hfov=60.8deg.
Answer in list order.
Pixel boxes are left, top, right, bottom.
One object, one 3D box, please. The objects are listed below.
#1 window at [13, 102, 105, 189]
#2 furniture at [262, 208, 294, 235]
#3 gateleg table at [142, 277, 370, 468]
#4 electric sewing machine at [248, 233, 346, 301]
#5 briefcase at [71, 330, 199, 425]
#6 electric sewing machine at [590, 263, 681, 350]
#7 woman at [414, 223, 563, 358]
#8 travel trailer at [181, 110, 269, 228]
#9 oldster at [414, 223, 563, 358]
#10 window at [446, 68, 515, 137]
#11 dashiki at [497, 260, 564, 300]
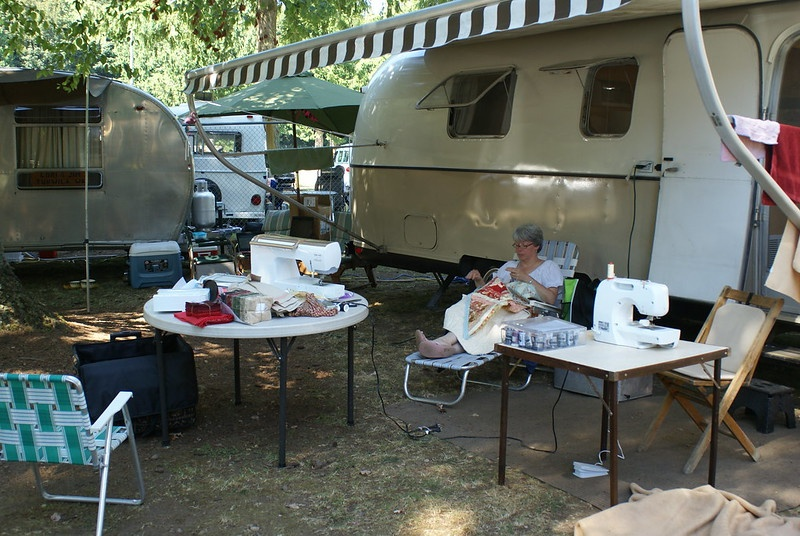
[{"bbox_3d":[-5.145,-1.866,10.181,1.485,1.520,0.131,2,0,-6],"label":"window"},{"bbox_3d":[-1.904,-0.748,10.633,0.394,0.421,0.429,1,3,14],"label":"furniture"},{"bbox_3d":[-1.068,0.662,5.486,1.507,0.927,1.539,11,16,39],"label":"gateleg table"},{"bbox_3d":[-1.000,-0.061,5.744,1.031,0.628,0.370,9,16,25],"label":"electric sewing machine"},{"bbox_3d":[-2.153,0.907,5.679,1.042,0.769,0.762,-3,17,-12],"label":"briefcase"},{"bbox_3d":[1.837,0.302,5.280,0.629,0.605,0.292,9,15,42],"label":"electric sewing machine"},{"bbox_3d":[0.838,0.171,6.328,0.837,1.148,1.849,3,7,42],"label":"woman"},{"bbox_3d":[-3.752,-2.338,15.169,1.964,1.833,2.960,-2,14,-14],"label":"travel trailer"},{"bbox_3d":[0.825,0.173,6.330,0.812,1.117,1.826,4,7,43],"label":"oldster"},{"bbox_3d":[0.942,-1.905,7.785,0.911,0.756,0.078,1,-5,39],"label":"window"},{"bbox_3d":[1.290,0.073,6.661,0.459,0.196,0.458,7,45,0],"label":"dashiki"}]
